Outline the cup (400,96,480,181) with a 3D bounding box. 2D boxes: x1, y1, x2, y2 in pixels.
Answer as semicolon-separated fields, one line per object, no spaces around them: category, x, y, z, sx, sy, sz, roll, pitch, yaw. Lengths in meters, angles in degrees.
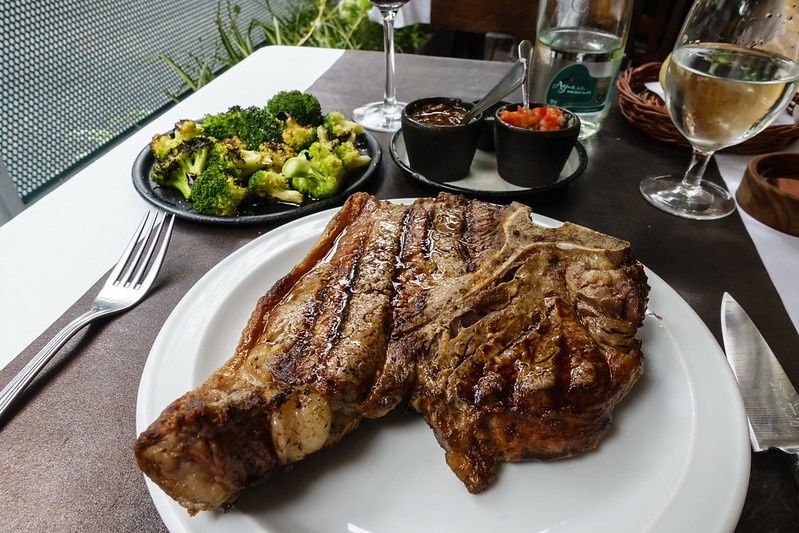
cup;0.177;-0.538;2.827;0.332;0.281;0.385;-2;34;0
